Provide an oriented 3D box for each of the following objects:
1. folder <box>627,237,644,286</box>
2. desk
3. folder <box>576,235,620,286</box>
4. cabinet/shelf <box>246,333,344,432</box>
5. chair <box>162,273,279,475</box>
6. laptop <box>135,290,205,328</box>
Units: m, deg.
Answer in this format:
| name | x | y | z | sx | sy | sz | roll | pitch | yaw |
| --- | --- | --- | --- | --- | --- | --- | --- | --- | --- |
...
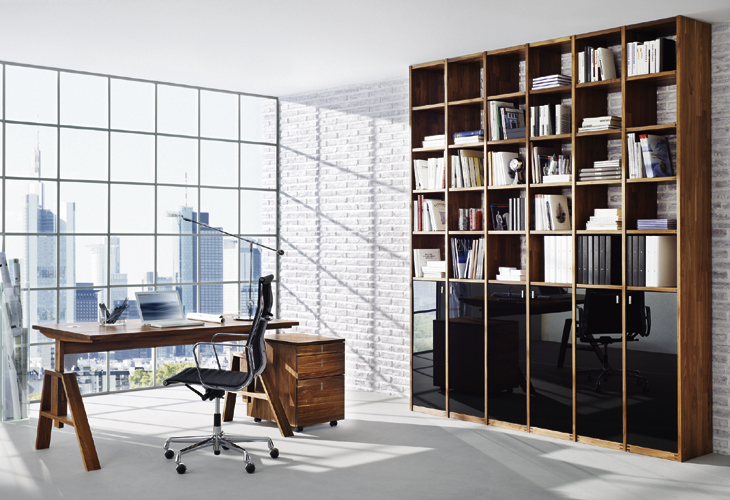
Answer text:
| name | x | y | z | sx | sy | sz | roll | pitch | yaw |
| --- | --- | --- | --- | --- | --- | --- | --- | --- | --- |
| folder | 2.228 | 0.093 | 5.112 | 0.151 | 0.409 | 0.021 | 3 | 4 | 38 |
| desk | -1.810 | 1.273 | 5.860 | 0.895 | 1.022 | 2.215 | -5 | -7 | 36 |
| folder | 1.997 | 0.090 | 5.327 | 0.364 | 0.425 | 0.126 | 1 | 3 | 16 |
| cabinet/shelf | -0.669 | 1.274 | 5.960 | 0.600 | 0.807 | 0.756 | 4 | -6 | -41 |
| chair | -1.183 | 1.003 | 5.154 | 0.988 | 1.437 | 0.933 | 0 | -8 | 0 |
| laptop | -1.730 | 0.529 | 5.528 | 0.447 | 0.249 | 0.449 | 4 | 1 | 36 |
